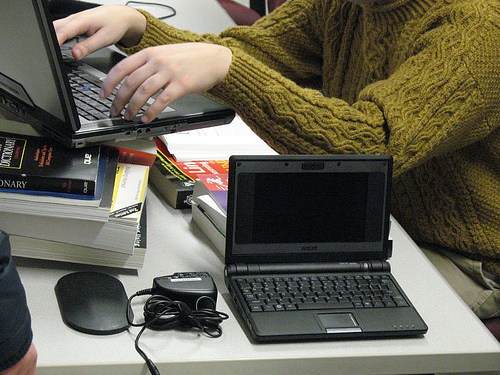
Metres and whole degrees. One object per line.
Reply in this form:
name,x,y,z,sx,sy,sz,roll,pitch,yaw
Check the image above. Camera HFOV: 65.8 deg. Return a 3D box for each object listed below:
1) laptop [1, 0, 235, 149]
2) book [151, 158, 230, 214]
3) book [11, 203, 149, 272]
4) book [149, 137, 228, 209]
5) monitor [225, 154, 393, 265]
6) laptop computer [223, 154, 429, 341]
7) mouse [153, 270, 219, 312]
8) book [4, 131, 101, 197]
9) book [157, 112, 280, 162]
laptop,-0.324,-0.241,0.777,0.435,0.219,0.389,19,27,33
book,-0.125,-0.017,0.832,0.146,0.033,0.150,7,28,-5
book,-0.262,0.072,0.724,0.226,0.051,0.235,6,14,9
book,-0.101,-0.023,0.869,0.196,0.039,0.178,-23,30,-27
monitor,0.096,0.035,0.617,0.270,0.168,0.011,0,8,-9
laptop computer,0.114,0.076,0.546,0.276,0.196,0.214,-3,18,-16
mouse,-0.088,0.150,0.559,0.080,0.026,0.053,1,24,-15
book,-0.302,-0.024,0.603,0.126,0.028,0.118,4,27,-12
book,-0.089,-0.118,0.979,0.204,0.047,0.197,-3,28,-19
